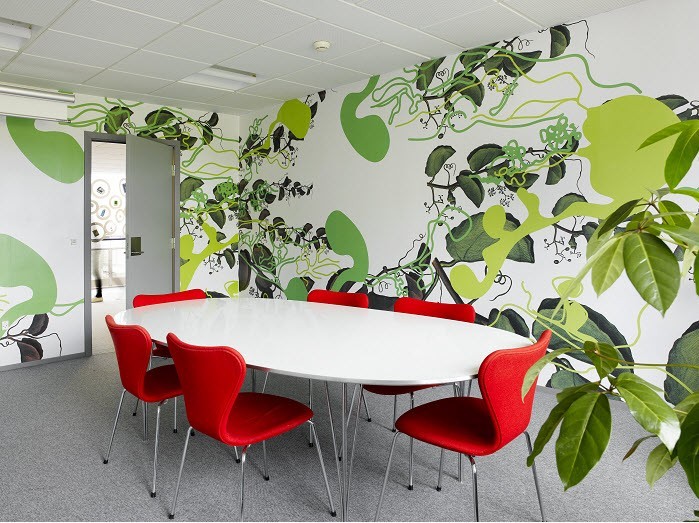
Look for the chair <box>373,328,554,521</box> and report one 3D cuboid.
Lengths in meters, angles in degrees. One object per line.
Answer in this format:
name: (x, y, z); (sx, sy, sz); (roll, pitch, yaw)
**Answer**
chair: (0.665, 0.885, 2.746); (0.650, 0.994, 0.512); (7, 10, 36)
